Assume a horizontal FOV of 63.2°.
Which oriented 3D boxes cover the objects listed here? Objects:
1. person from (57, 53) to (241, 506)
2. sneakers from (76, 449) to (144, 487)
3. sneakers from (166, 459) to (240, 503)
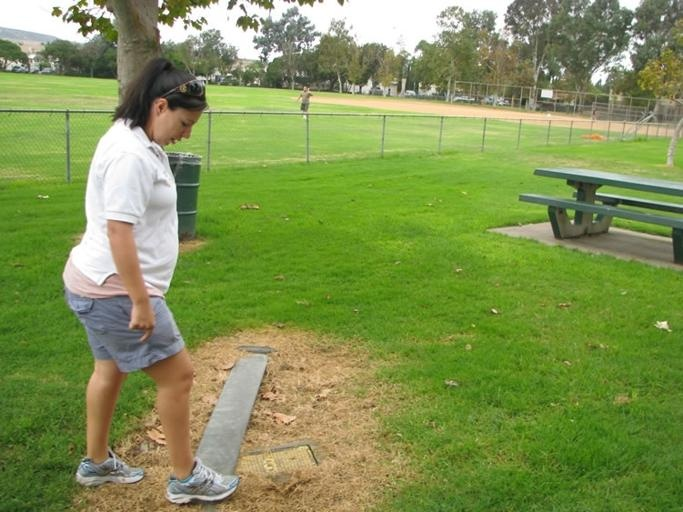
[{"bbox_3d":[-1.177,0.233,3.253,0.822,2.632,0.641,-4,18,-27],"label":"person"},{"bbox_3d":[-1.508,1.391,3.692,0.472,0.240,0.185,6,-1,-22],"label":"sneakers"},{"bbox_3d":[-0.896,1.401,3.588,0.523,0.268,0.200,1,19,-22],"label":"sneakers"}]
